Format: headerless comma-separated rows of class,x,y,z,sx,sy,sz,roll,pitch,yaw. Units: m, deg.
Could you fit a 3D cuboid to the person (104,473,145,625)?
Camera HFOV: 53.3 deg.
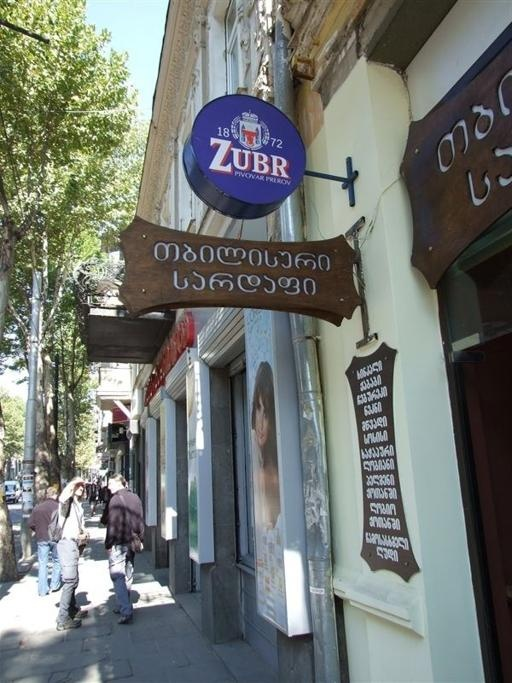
person,-1.799,2.761,6.904,0.533,1.863,0.898,2,-12,-16

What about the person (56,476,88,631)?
person,-2.461,2.759,6.778,0.368,1.853,1.087,3,-13,-20

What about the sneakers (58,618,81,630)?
sneakers,-2.381,3.577,6.492,0.276,0.177,0.119,3,-12,-28

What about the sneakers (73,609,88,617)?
sneakers,-2.397,3.702,6.941,0.061,0.110,0.202,-1,-9,20
